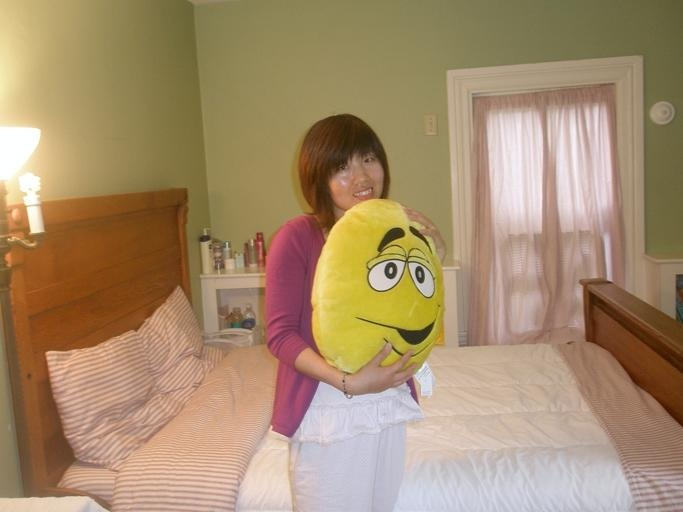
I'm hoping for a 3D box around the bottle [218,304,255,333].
[{"bbox_3d":[-0.815,0.487,3.543,0.277,0.329,0.174,-2,5,-22],"label":"bottle"}]

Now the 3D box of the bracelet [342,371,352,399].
[{"bbox_3d":[0.011,0.333,1.151,0.013,0.066,0.045,-4,1,-1],"label":"bracelet"}]

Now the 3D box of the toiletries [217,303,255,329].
[{"bbox_3d":[-0.810,0.489,3.531,0.262,0.310,0.163,-4,6,-29],"label":"toiletries"}]

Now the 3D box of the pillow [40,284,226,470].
[{"bbox_3d":[-0.953,0.590,2.149,0.365,0.492,0.701,-1,8,15],"label":"pillow"}]

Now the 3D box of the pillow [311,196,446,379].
[{"bbox_3d":[0.130,0.132,1.239,0.370,0.544,0.239,4,-6,-21],"label":"pillow"}]
